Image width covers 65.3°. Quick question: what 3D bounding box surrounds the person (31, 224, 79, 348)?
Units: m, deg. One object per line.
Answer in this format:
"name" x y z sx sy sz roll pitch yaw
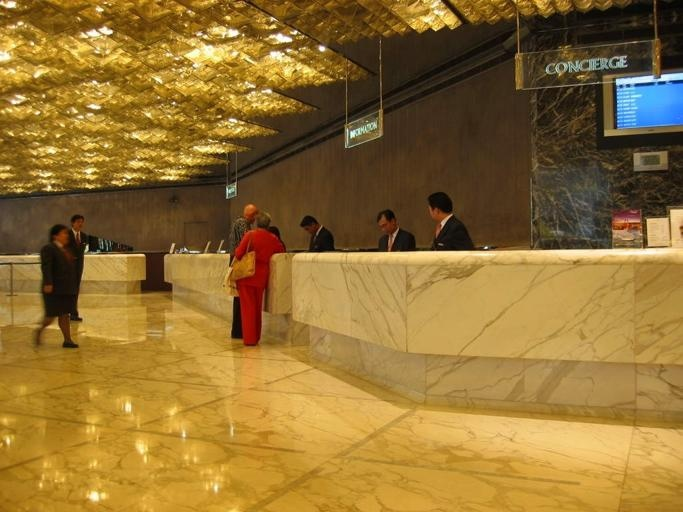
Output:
"person" -3.489 0.367 6.537 0.455 1.507 0.599 0 3 -30

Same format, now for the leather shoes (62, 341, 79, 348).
"leather shoes" -3.288 1.075 6.479 0.223 0.093 0.075 0 -2 2

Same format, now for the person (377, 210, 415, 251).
"person" 0.631 -0.299 6.266 0.400 0.489 0.745 2 3 5

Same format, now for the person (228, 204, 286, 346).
"person" -1.105 0.269 6.848 0.448 1.669 0.600 4 3 37

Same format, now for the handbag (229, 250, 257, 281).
"handbag" -1.235 0.123 6.676 0.328 0.359 0.097 -7 -14 33

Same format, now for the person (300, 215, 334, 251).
"person" -0.369 -0.343 7.993 0.465 0.525 0.867 2 3 2
